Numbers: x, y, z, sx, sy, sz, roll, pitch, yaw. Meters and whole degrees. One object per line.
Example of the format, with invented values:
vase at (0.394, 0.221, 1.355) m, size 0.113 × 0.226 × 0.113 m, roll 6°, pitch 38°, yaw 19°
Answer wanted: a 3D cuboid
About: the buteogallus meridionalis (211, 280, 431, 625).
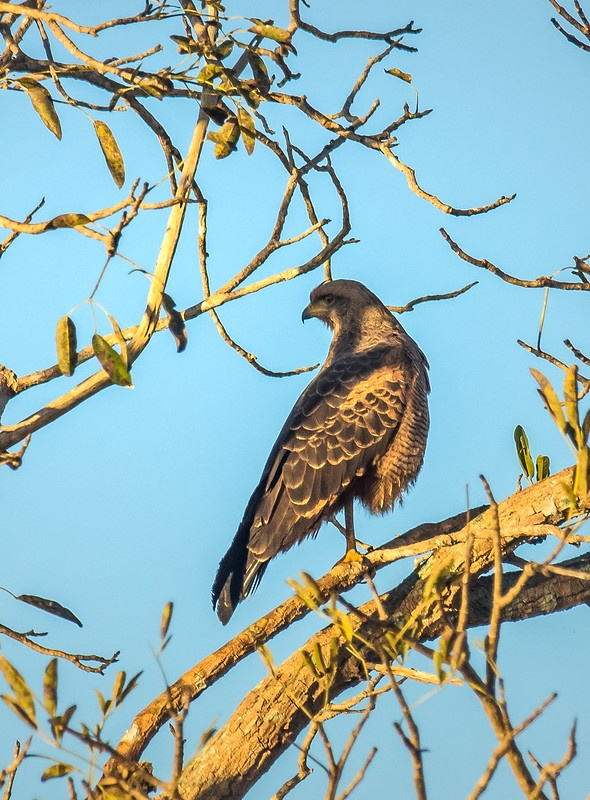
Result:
buteogallus meridionalis at (0.126, 0.213, 7.226) m, size 0.792 × 1.528 × 0.612 m, roll -2°, pitch -19°, yaw -6°
